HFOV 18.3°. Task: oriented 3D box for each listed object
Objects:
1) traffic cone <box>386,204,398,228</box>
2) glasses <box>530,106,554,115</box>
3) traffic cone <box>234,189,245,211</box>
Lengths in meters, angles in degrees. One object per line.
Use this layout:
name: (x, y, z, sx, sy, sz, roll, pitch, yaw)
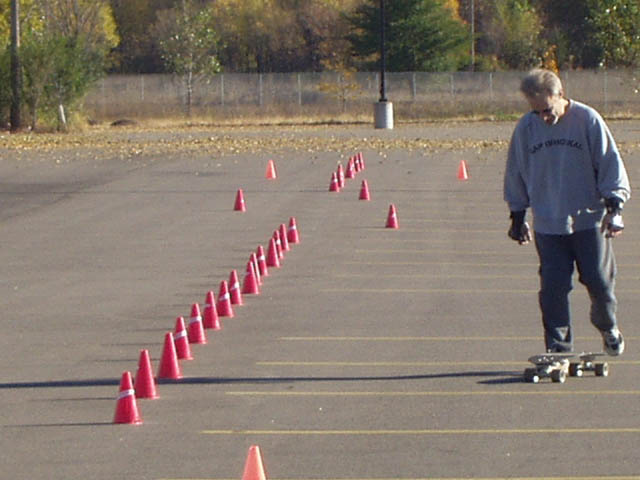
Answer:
traffic cone: (2.142, -0.894, 61.312, 0.425, 0.687, 1.325, -5, 8, 3)
glasses: (5.903, -3.505, 53.266, 0.551, 0.158, 0.151, -4, 8, 13)
traffic cone: (-2.627, -1.376, 63.126, 0.402, 0.660, 0.756, -5, 8, -2)
